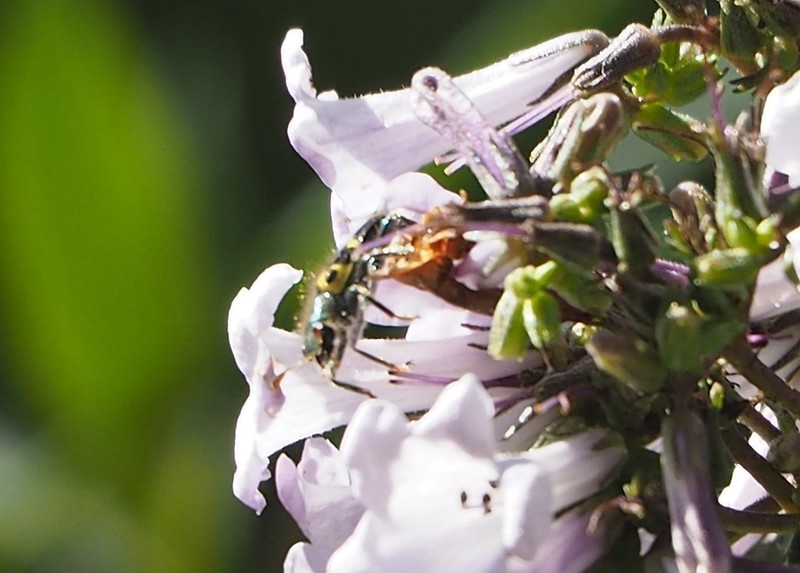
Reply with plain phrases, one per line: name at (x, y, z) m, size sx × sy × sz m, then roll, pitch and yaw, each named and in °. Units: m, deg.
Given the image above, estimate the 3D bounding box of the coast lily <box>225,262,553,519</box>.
coast lily at (-0.048, 0.088, 0.962) m, size 0.204 × 0.271 × 0.173 m, roll -5°, pitch 1°, yaw -19°

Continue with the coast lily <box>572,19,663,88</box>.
coast lily at (0.197, -0.211, 0.934) m, size 0.092 × 0.037 × 0.038 m, roll -26°, pitch 40°, yaw -13°

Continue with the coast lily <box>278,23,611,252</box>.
coast lily at (0.039, -0.154, 0.988) m, size 0.325 × 0.173 × 0.245 m, roll -5°, pitch 40°, yaw 12°
